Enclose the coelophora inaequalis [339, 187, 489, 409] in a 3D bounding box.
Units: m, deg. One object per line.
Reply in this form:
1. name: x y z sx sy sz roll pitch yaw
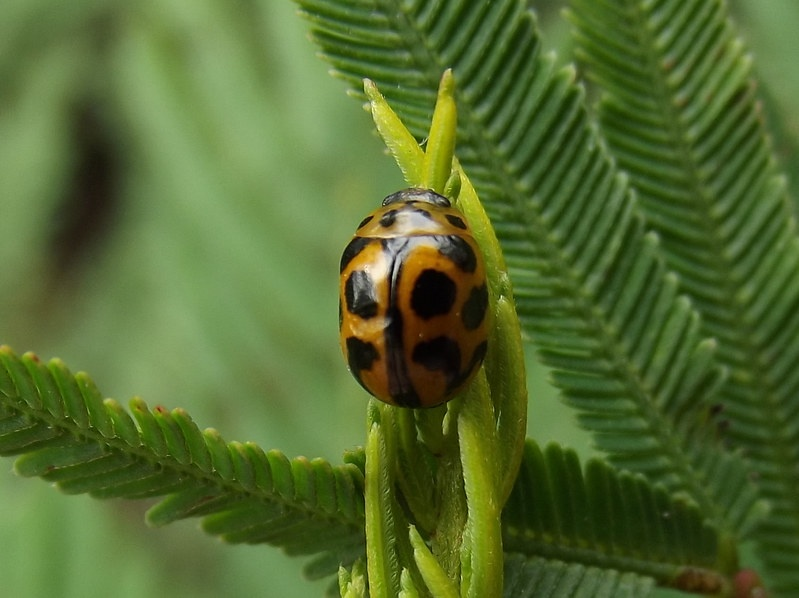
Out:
1. coelophora inaequalis: 0.012 0.004 0.799 0.106 0.189 0.065 -1 -2 20
